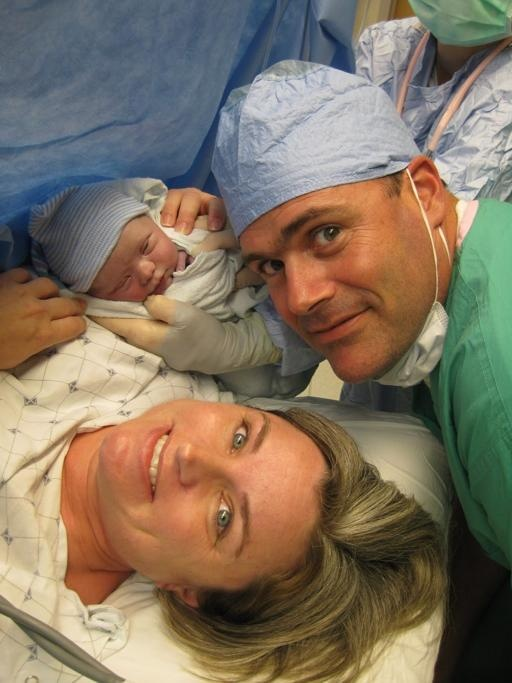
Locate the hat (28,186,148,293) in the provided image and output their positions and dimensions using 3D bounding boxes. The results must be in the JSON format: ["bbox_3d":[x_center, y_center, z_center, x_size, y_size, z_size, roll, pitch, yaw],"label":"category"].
[{"bbox_3d":[-0.426,-0.270,1.596,0.289,0.108,0.261,31,85,25],"label":"hat"}]

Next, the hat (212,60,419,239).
[{"bbox_3d":[0.106,-0.474,1.475,0.420,0.312,0.405,-35,30,12],"label":"hat"}]

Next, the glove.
[{"bbox_3d":[-0.157,-0.016,1.660,0.405,0.134,0.208,-4,59,-37],"label":"glove"}]
